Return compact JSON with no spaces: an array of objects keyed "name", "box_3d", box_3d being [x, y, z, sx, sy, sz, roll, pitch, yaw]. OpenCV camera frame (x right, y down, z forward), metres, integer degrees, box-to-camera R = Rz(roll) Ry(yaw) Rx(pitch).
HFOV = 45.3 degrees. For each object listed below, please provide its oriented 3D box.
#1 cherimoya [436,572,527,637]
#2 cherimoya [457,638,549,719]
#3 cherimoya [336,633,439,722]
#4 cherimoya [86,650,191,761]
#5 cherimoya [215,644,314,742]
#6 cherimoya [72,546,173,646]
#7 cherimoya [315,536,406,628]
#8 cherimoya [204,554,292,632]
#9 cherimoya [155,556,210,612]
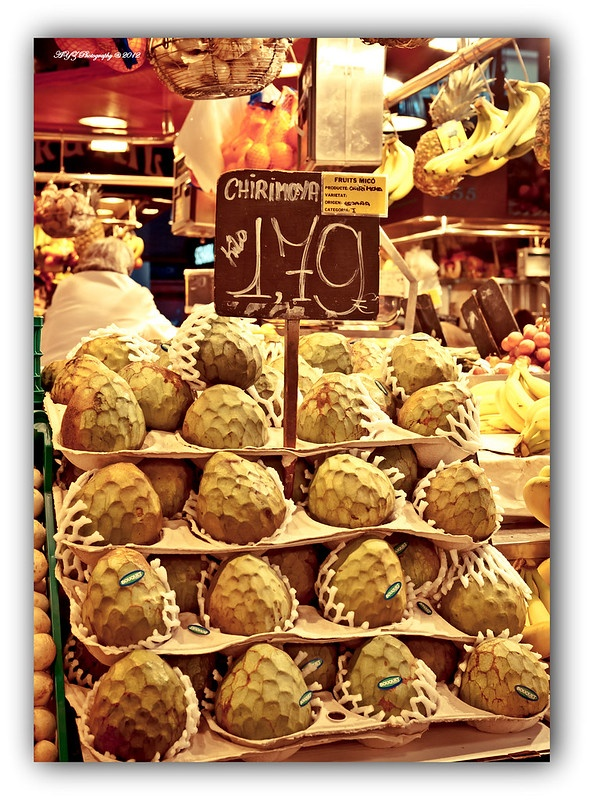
[{"name":"cherimoya","box_3d":[0.398,0.447,1.563,0.149,0.120,0.116,-1,-17,0]},{"name":"cherimoya","box_3d":[0.416,0.584,1.466,0.132,0.149,0.144,30,-32,-27]},{"name":"cherimoya","box_3d":[0.173,0.530,1.345,0.202,0.139,0.118,1,5,1]},{"name":"cherimoya","box_3d":[-0.252,0.517,1.233,0.175,0.203,0.162,10,-21,-23]},{"name":"cherimoya","box_3d":[-0.063,0.496,1.228,0.155,0.175,0.141,4,-18,-11]},{"name":"cherimoya","box_3d":[-0.283,0.323,1.287,0.167,0.194,0.159,-10,-3,-10]},{"name":"cherimoya","box_3d":[0.134,0.354,1.459,0.140,0.144,0.181,17,18,17]},{"name":"cherimoya","box_3d":[-0.091,0.368,1.355,0.130,0.149,0.142,1,-13,-6]},{"name":"cherimoya","box_3d":[-0.220,0.351,1.376,0.103,0.119,0.099,-13,0,-4]}]
